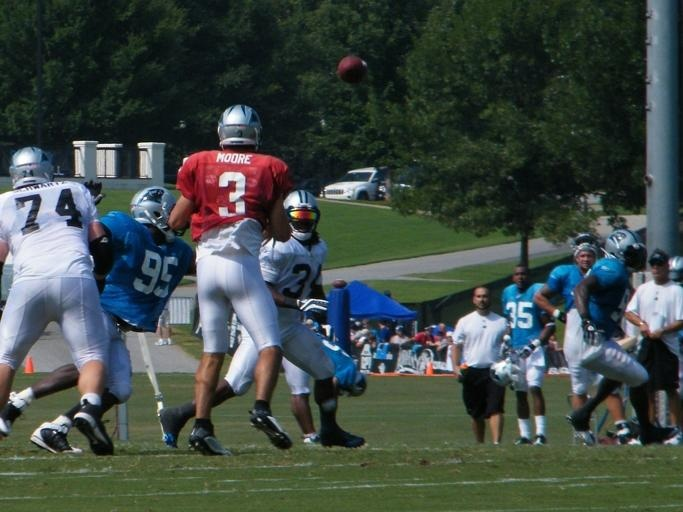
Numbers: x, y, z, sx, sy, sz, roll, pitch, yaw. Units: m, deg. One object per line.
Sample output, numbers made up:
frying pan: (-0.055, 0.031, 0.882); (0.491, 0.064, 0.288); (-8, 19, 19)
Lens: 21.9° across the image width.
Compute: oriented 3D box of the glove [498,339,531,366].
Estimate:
glove: (2.921, 1.629, 29.679); (0.325, 0.154, 0.541); (44, 30, 12)

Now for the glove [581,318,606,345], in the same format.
glove: (3.876, 1.182, 27.297); (0.422, 0.149, 0.285); (28, 31, -26)

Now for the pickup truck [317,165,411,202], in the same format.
pickup truck: (1.074, -2.809, 70.572); (3.115, 1.183, 1.443); (2, -2, -44)

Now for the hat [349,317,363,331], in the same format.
hat: (0.339, 1.575, 40.279); (0.250, 0.311, 0.083); (-9, -18, 9)

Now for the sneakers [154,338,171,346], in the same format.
sneakers: (-4.113, 1.985, 40.545); (0.164, 0.130, 0.333); (0, 2, -20)

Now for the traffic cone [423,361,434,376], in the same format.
traffic cone: (1.945, 2.499, 38.765); (0.270, 0.234, 0.243); (2, -7, -5)

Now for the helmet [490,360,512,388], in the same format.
helmet: (2.693, 1.993, 29.286); (0.366, 0.391, 0.416); (7, 31, 26)

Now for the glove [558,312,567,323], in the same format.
glove: (3.640, 1.015, 28.593); (0.163, 0.144, 0.154); (11, -2, -9)
